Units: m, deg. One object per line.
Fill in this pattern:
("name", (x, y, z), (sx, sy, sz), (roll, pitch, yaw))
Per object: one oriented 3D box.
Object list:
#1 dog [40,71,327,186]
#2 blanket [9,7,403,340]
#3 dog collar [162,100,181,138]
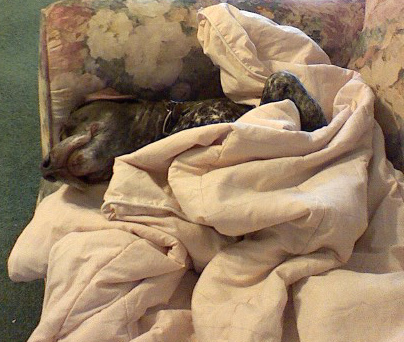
("dog", (0.048, -0.101, 2.126), (1.066, 0.368, 0.510), (0, 4, -35))
("blanket", (0.066, 0.018, 1.897), (1.081, 0.441, 1.025), (12, 51, 5))
("dog collar", (-0.096, -0.169, 2.102), (0.067, 0.028, 0.105), (1, 90, -28))
